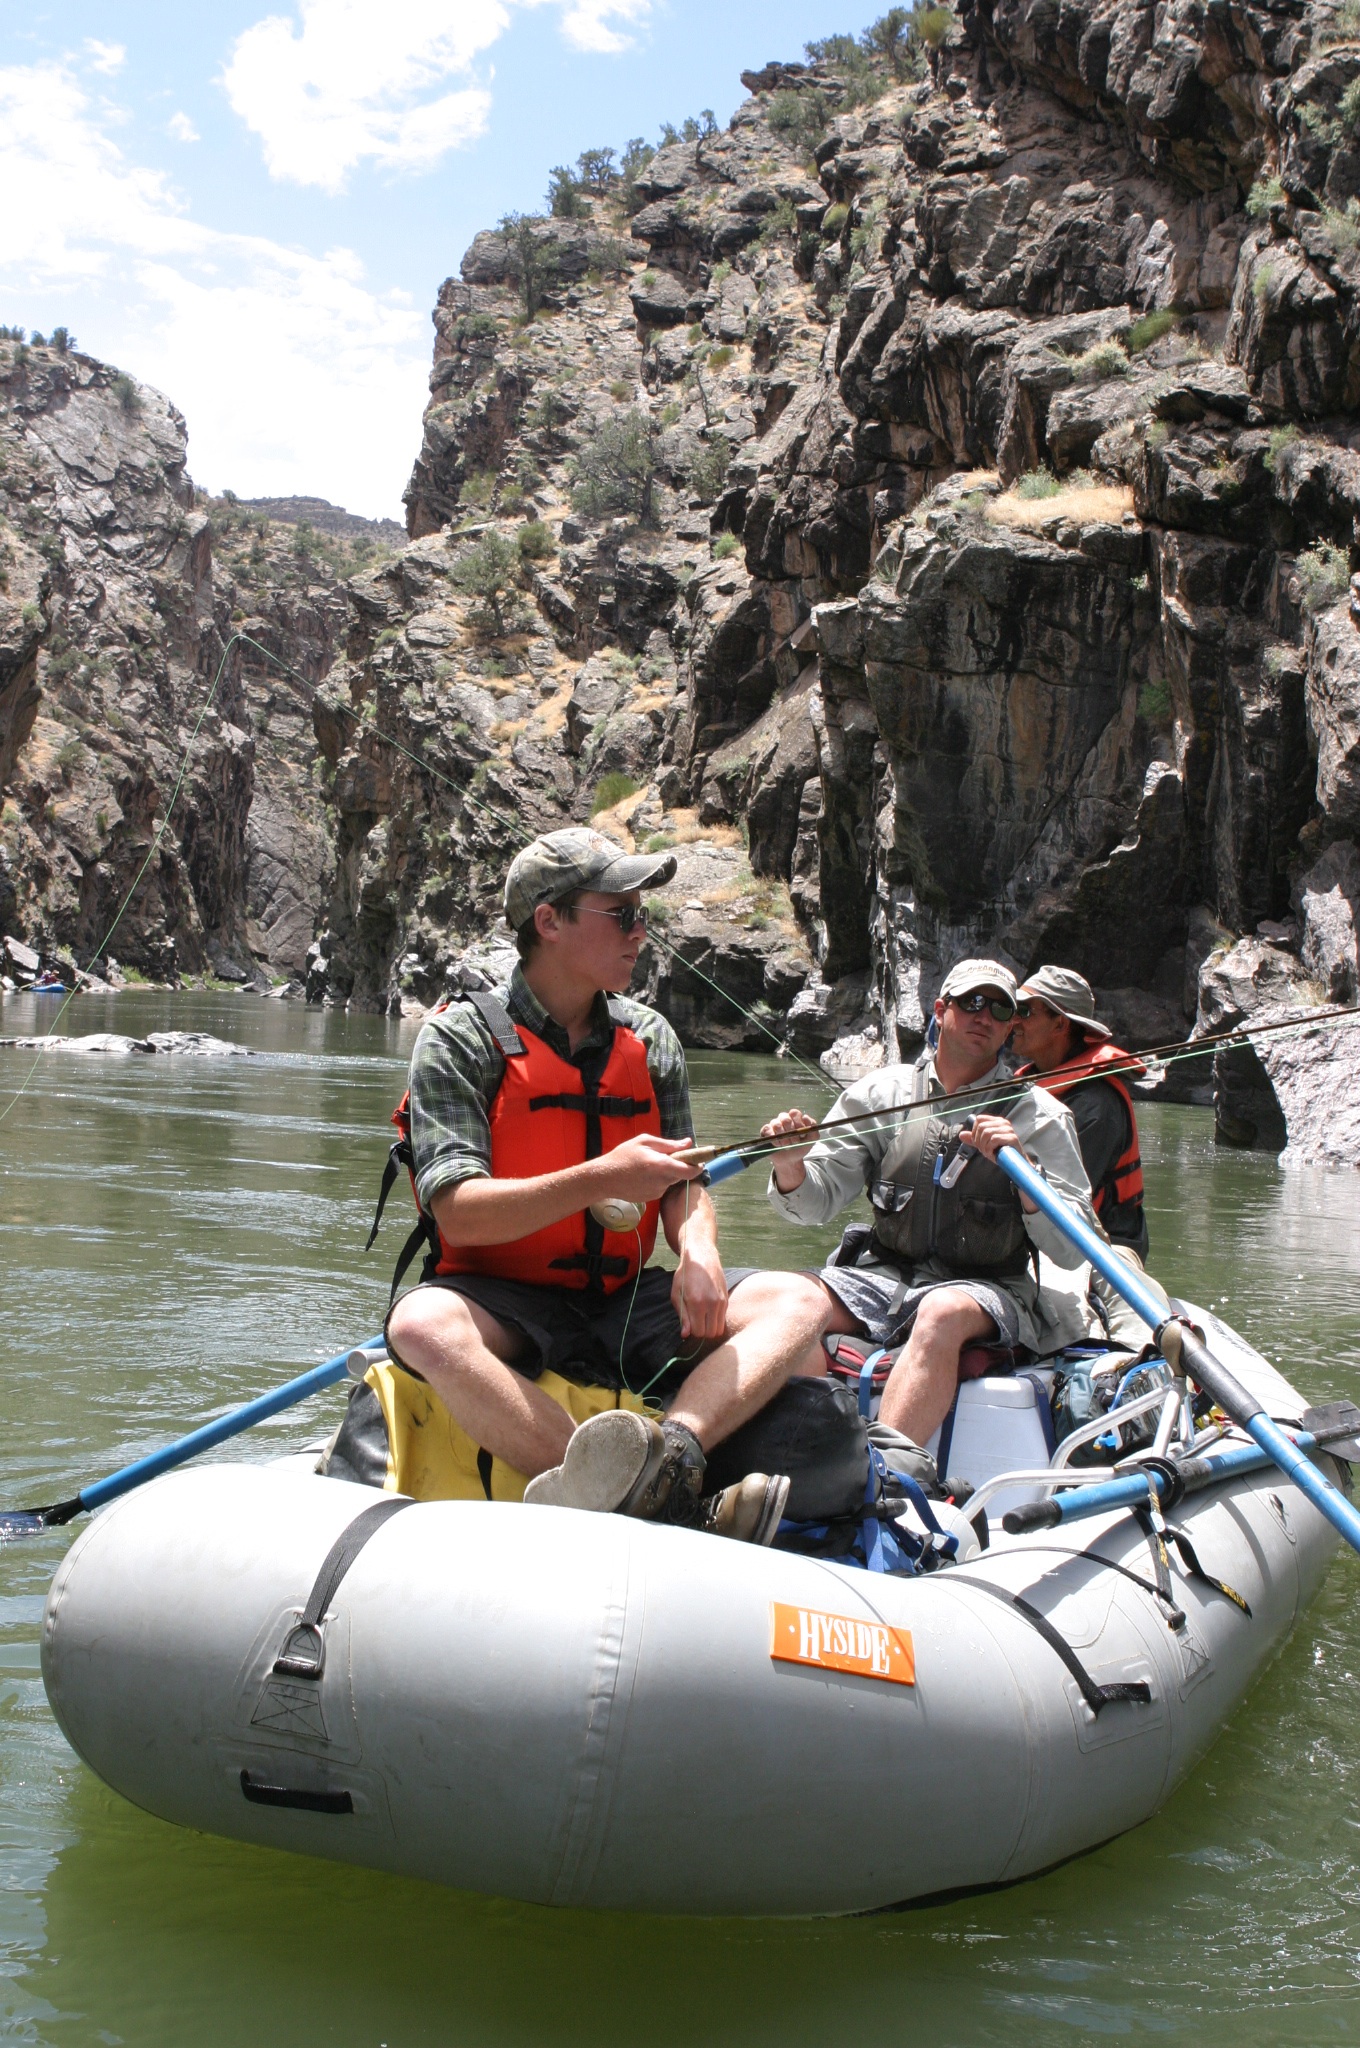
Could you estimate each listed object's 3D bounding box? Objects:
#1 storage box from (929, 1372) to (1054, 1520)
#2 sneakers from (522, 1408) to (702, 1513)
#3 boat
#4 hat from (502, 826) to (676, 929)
[{"bbox_3d":[0.618,0.843,3.781,0.193,0.289,0.175,1,-2,17],"label":"storage box"},{"bbox_3d":[-0.072,0.589,2.601,0.150,0.088,0.226,33,-35,-6],"label":"sneakers"},{"bbox_3d":[0.129,0.877,2.646,1.790,0.535,0.686,1,2,-34],"label":"boat"},{"bbox_3d":[-0.167,-0.252,3.277,0.265,0.127,0.163,-21,7,4],"label":"hat"}]
